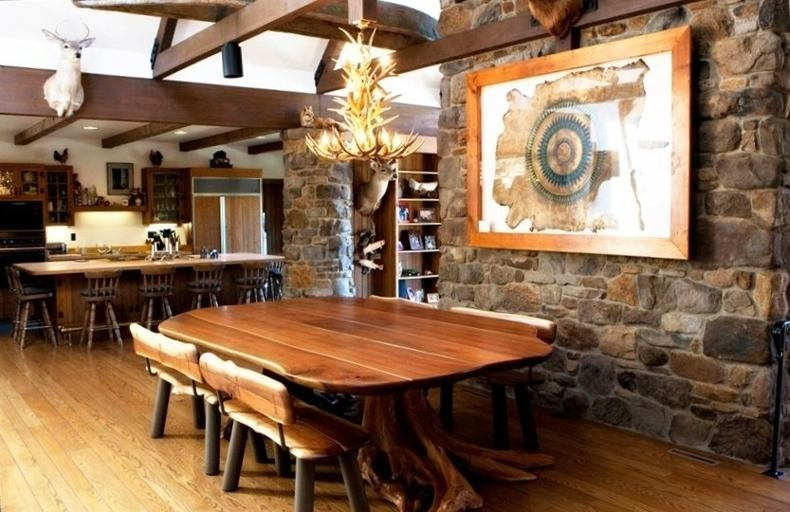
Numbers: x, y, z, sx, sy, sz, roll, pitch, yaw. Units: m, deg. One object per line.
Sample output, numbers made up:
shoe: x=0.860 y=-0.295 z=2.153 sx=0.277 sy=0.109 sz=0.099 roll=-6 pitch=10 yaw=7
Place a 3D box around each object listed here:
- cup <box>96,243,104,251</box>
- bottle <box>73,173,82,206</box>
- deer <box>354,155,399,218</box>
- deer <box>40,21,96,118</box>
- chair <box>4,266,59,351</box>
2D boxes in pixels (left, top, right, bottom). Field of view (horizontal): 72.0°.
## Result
cup: x=-5.791 y=-0.154 z=10.655 sx=0.131 sy=0.163 sz=0.181 roll=-2 pitch=-1 yaw=44
bottle: x=-6.146 y=-1.278 z=10.524 sx=0.156 sy=0.597 sz=0.257 roll=-6 pitch=9 yaw=-27
deer: x=-0.331 y=-0.975 z=8.169 sx=0.395 sy=0.799 sz=1.123 roll=2 pitch=-5 yaw=-32
deer: x=-3.799 y=-2.089 z=6.300 sx=0.524 sy=0.895 sz=0.804 roll=-6 pitch=9 yaw=-30
chair: x=-5.225 y=0.686 z=7.787 sx=0.522 sy=1.010 sz=1.447 roll=-7 pitch=9 yaw=-35
